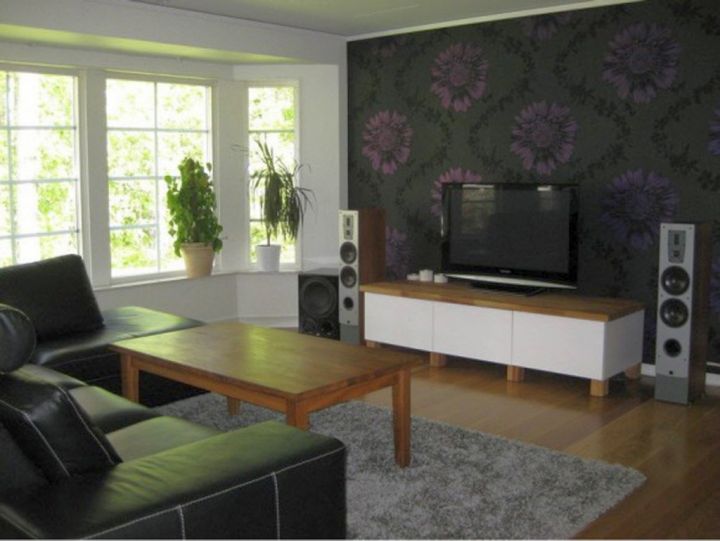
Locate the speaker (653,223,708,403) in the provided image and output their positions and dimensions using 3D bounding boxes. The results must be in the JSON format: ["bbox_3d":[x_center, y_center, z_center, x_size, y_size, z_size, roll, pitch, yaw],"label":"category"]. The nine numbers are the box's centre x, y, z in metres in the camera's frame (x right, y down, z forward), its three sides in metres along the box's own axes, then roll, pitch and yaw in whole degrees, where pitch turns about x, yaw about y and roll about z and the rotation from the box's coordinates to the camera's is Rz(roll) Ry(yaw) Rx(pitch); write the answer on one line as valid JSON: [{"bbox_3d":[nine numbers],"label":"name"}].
[{"bbox_3d":[2.376,0.295,4.038,0.328,1.307,0.402,8,12,40],"label":"speaker"}]

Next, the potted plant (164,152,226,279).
[{"bbox_3d":[-1.736,-0.545,5.763,0.545,1.255,0.277,-2,9,-15],"label":"potted plant"}]

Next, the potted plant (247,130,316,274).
[{"bbox_3d":[-0.889,-0.757,6.032,0.753,1.543,0.482,2,9,5],"label":"potted plant"}]
